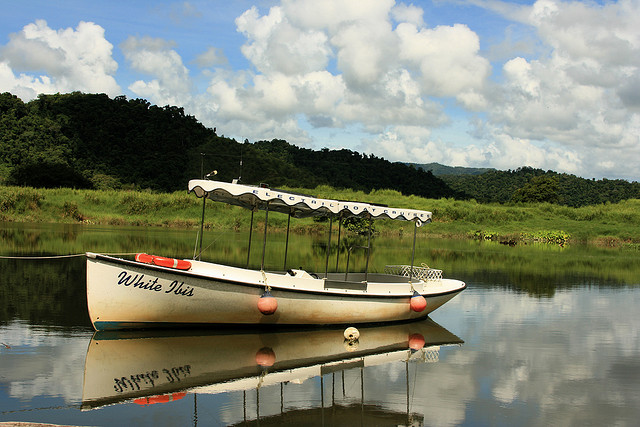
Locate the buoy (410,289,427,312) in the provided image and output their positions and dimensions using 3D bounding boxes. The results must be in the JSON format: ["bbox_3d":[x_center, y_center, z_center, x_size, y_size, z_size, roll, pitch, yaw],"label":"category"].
[{"bbox_3d":[3.444,3.105,21.338,0.558,0.847,0.586,-17,-17,11],"label":"buoy"}]

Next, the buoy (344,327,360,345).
[{"bbox_3d":[1.038,3.986,19.780,0.404,0.510,0.425,5,-5,17],"label":"buoy"}]
